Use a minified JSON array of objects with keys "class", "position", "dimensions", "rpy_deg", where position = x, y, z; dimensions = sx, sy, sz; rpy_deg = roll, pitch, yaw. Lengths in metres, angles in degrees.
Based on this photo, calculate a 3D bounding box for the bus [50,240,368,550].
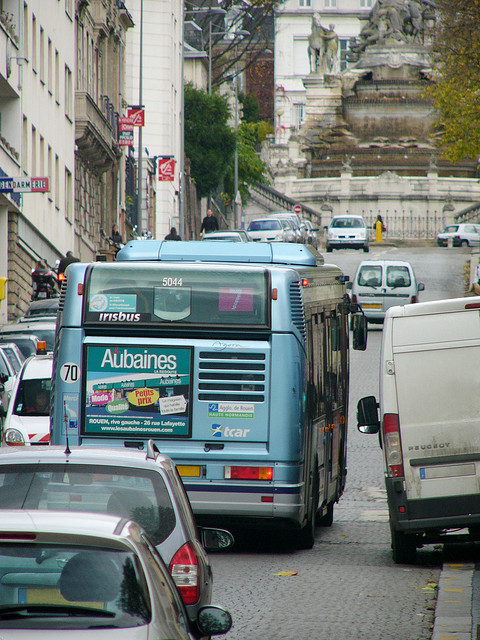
[{"class":"bus","position":[-0.183,0.500,12.692],"dimensions":[1.407,1.899,3.794],"rpy_deg":[0,1,11]}]

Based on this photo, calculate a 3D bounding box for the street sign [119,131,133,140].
[{"class":"street sign","position":[-3.525,-5.669,48.191],"dimensions":[0.404,0.240,0.602],"rpy_deg":[-5,2,-6]}]

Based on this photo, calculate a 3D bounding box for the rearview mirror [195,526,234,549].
[{"class":"rearview mirror","position":[-0.121,1.002,7.346],"dimensions":[0.117,0.069,0.122],"rpy_deg":[-2,2,-30]}]

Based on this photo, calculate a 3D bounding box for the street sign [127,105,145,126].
[{"class":"street sign","position":[-3.187,-6.222,47.869],"dimensions":[0.492,0.551,0.853],"rpy_deg":[-4,2,-6]}]

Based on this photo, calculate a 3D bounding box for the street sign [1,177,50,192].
[{"class":"street sign","position":[-3.875,-2.408,27.865],"dimensions":[0.355,0.268,1.642],"rpy_deg":[-6,2,-36]}]

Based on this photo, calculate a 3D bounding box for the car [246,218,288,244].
[{"class":"car","position":[0.983,-3.050,54.076],"dimensions":[1.251,1.389,2.516],"rpy_deg":[-1,-3,7]}]

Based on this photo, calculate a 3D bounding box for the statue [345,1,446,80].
[{"class":"statue","position":[9.508,-17.129,95.974],"dimensions":[4.842,3.979,4.741],"rpy_deg":[-4,2,13]}]

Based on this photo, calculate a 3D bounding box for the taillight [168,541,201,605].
[{"class":"taillight","position":[-0.219,1.089,6.728],"dimensions":[0.097,0.232,0.203],"rpy_deg":[-3,2,26]}]

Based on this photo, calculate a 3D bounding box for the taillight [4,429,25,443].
[{"class":"taillight","position":[-2.239,1.145,15.443],"dimensions":[0.105,0.080,0.160],"rpy_deg":[8,8,-1]}]

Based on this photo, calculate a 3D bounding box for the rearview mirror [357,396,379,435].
[{"class":"rearview mirror","position":[0.995,0.740,12.124],"dimensions":[0.199,0.455,0.261],"rpy_deg":[0,3,4]}]

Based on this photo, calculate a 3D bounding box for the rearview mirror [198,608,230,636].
[{"class":"rearview mirror","position":[-0.099,1.134,5.896],"dimensions":[0.107,0.134,0.021],"rpy_deg":[1,11,12]}]

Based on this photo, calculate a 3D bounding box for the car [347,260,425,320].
[{"class":"car","position":[3.244,-0.454,34.758],"dimensions":[1.245,1.140,2.003],"rpy_deg":[0,7,10]}]

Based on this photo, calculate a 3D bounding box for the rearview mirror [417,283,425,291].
[{"class":"rearview mirror","position":[4.105,-0.756,35.242],"dimensions":[0.167,0.215,0.133],"rpy_deg":[0,-5,34]}]
